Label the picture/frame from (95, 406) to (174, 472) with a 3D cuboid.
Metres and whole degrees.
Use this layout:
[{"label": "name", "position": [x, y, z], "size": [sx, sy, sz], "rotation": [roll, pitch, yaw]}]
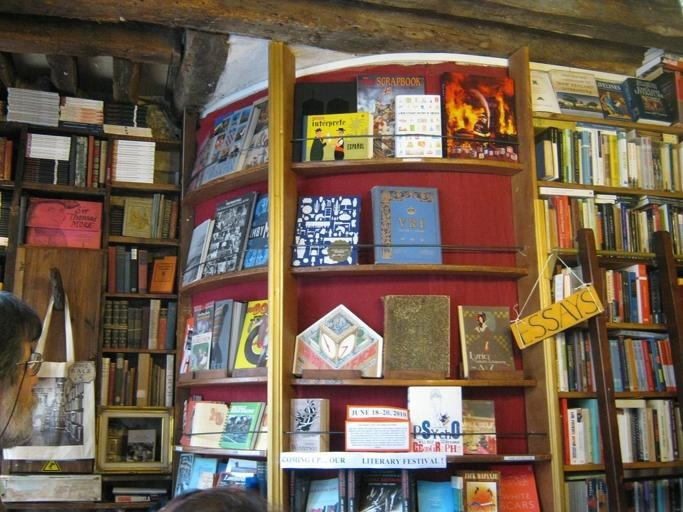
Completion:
[{"label": "picture/frame", "position": [-1.462, 1.313, 6.069], "size": [0.699, 0.441, 0.061], "rotation": [-7, -13, 27]}]
